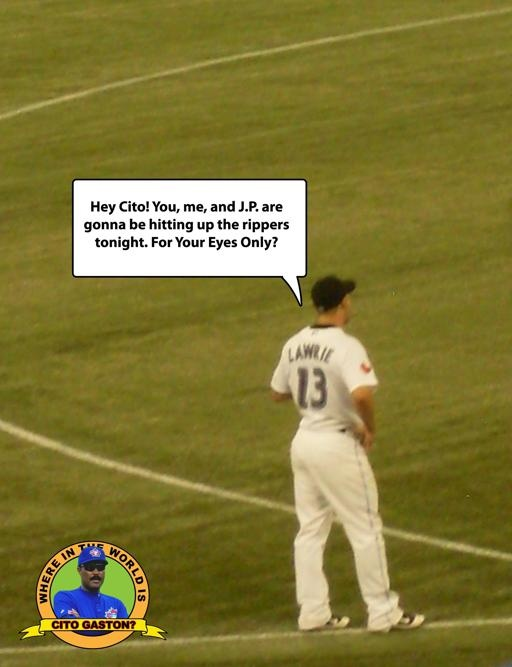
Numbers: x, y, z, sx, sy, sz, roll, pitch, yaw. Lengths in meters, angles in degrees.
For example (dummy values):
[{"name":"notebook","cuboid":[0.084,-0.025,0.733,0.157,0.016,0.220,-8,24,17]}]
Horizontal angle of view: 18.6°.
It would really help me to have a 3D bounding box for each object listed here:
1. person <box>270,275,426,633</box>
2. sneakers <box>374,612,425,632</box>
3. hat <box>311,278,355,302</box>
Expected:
[{"name":"person","cuboid":[0.505,0.743,8.669,0.832,2.049,0.585,0,18,1]},{"name":"sneakers","cuboid":[0.819,1.641,8.824,0.207,0.099,0.143,3,1,6]},{"name":"hat","cuboid":[0.421,-0.266,8.610,0.151,0.173,0.250,6,14,35]}]
